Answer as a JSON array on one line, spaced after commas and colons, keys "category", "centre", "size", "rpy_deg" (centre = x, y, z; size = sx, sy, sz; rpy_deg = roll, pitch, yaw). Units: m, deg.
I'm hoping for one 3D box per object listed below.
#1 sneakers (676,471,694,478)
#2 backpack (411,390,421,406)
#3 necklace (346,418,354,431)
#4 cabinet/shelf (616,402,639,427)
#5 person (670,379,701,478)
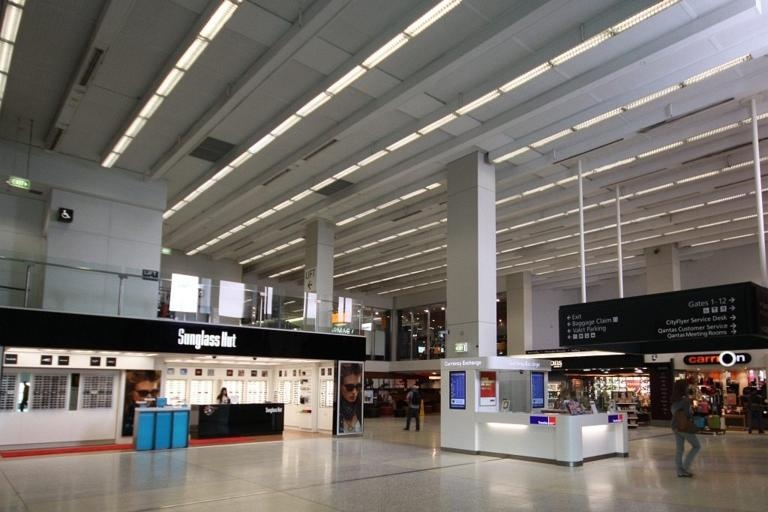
[{"category": "sneakers", "centre": [6.623, 4.727, 11.701], "size": [0.356, 0.135, 0.118], "rpy_deg": [-1, -10, -4]}, {"category": "backpack", "centre": [1.250, 5.521, 21.028], "size": [0.234, 0.533, 0.541], "rpy_deg": [-8, -16, 30]}, {"category": "necklace", "centre": [-1.222, 5.648, 18.108], "size": [0.261, 0.335, 0.343], "rpy_deg": [2, -6, -17]}, {"category": "cabinet/shelf", "centre": [10.530, 6.707, 22.937], "size": [0.790, 0.949, 3.971], "rpy_deg": [-6, -15, 23]}, {"category": "person", "centre": [6.732, 3.790, 11.953], "size": [0.503, 2.017, 0.906], "rpy_deg": [-7, -15, 26]}]
